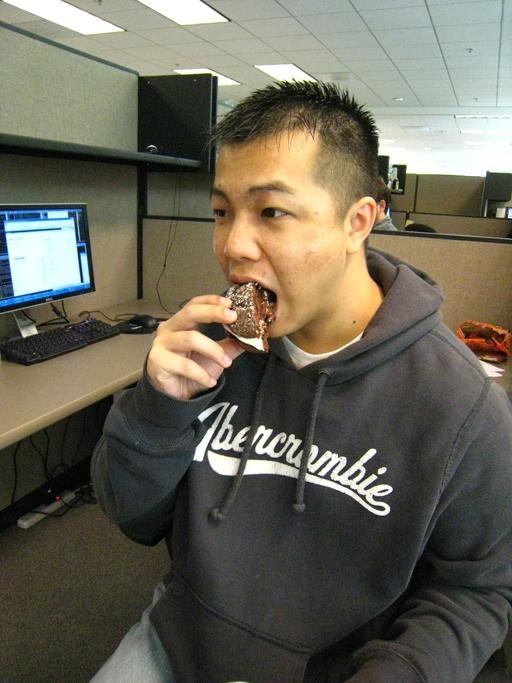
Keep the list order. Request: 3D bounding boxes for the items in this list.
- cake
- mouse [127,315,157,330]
[{"bbox_3d":[-0.005,-0.037,0.866,0.082,0.094,0.069,15,23,26],"label":"cake"},{"bbox_3d":[-0.419,-0.080,2.025,0.095,0.029,0.052,14,15,24],"label":"mouse"}]
